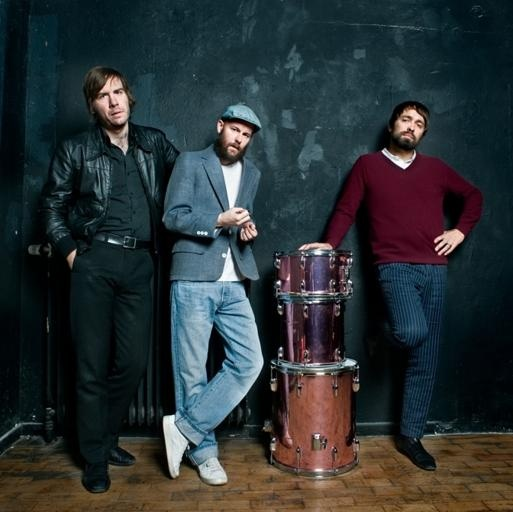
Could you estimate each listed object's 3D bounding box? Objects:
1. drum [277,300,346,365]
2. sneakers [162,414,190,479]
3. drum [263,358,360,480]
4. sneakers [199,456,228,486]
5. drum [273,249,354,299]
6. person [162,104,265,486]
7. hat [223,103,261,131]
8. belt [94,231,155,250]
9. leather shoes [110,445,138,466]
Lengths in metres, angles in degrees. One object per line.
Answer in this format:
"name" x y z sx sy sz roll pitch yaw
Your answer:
"drum" 0.277 0.370 2.941 0.293 0.287 0.308 0 -3 0
"sneakers" -0.379 0.886 2.905 0.124 0.318 0.101 -3 -1 5
"drum" 0.294 0.822 3.116 0.481 0.518 0.505 -12 -24 31
"sneakers" -0.198 1.015 2.870 0.142 0.106 0.151 -1 6 -15
"drum" 0.302 0.100 3.081 0.405 0.252 0.405 1 -2 0
"person" -0.207 0.178 2.924 0.469 1.766 0.423 0 6 -6
"hat" -0.069 -0.665 2.876 0.123 0.068 0.168 23 8 -18
"belt" -0.629 -0.065 2.915 0.278 0.082 0.077 -2 7 -25
"leather shoes" -0.670 1.006 3.039 0.156 0.072 0.061 0 -1 14
